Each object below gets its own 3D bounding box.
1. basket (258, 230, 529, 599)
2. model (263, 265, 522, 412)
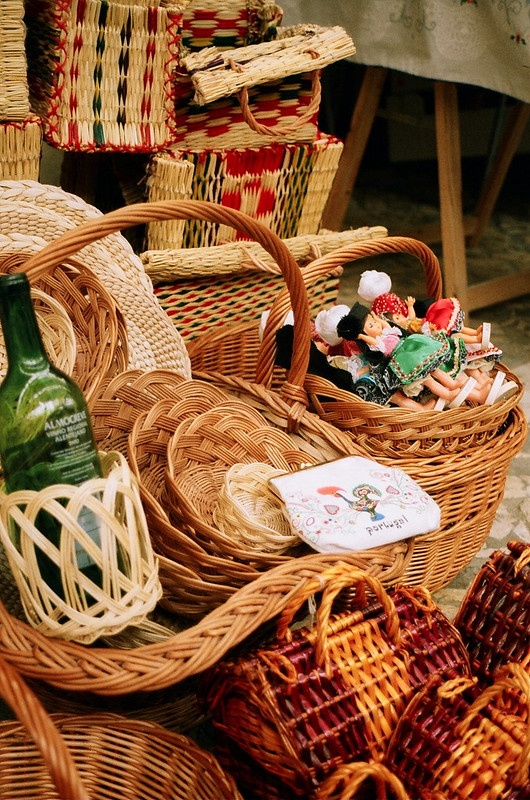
[{"bbox_3d":[0.222,-0.062,1.155,0.408,0.494,0.517,-26,29,-27],"label":"basket"},{"bbox_3d":[0.183,-0.081,1.033,0.287,0.108,0.227,22,40,24],"label":"model"}]
